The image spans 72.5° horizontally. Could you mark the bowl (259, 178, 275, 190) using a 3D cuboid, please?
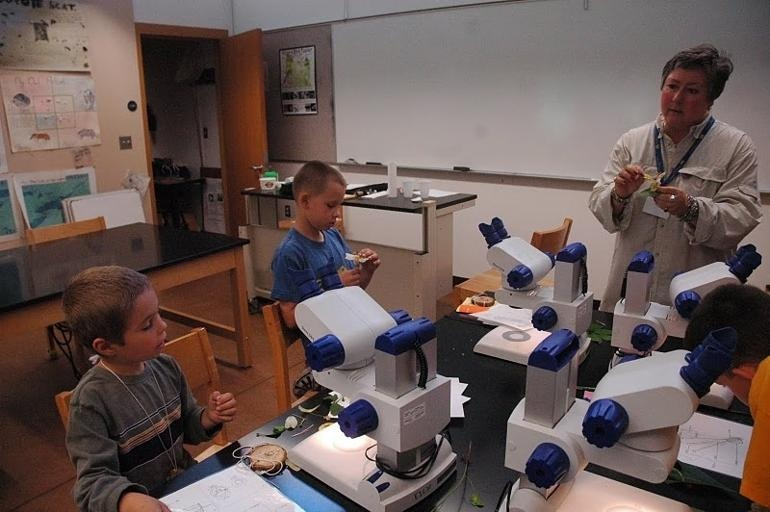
[{"bbox_3d":[-0.990,-0.609,4.432,0.115,0.075,0.090,-11,19,-41],"label":"bowl"}]

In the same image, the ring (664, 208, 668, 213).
[{"bbox_3d":[1.260,-0.204,2.365,0.011,0.016,0.005,-3,26,8],"label":"ring"}]

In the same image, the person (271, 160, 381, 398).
[{"bbox_3d":[-0.265,0.276,2.564,0.449,1.431,0.600,6,12,37],"label":"person"}]

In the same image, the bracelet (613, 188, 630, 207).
[{"bbox_3d":[1.140,-0.278,2.528,0.072,0.032,0.080,-13,37,-9],"label":"bracelet"}]

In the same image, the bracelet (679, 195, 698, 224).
[{"bbox_3d":[1.369,-0.219,2.370,0.045,0.090,0.107,7,-20,14],"label":"bracelet"}]

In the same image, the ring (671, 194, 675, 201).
[{"bbox_3d":[1.279,-0.261,2.339,0.014,0.020,0.007,1,-4,13],"label":"ring"}]

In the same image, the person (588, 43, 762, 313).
[{"bbox_3d":[1.470,-0.228,2.676,0.776,1.493,0.680,14,19,32],"label":"person"}]

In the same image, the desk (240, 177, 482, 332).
[{"bbox_3d":[-0.190,-0.022,3.188,0.558,1.247,0.499,5,10,28],"label":"desk"}]

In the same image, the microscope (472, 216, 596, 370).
[{"bbox_3d":[0.587,0.141,2.112,0.443,0.514,0.344,8,18,35],"label":"microscope"}]
